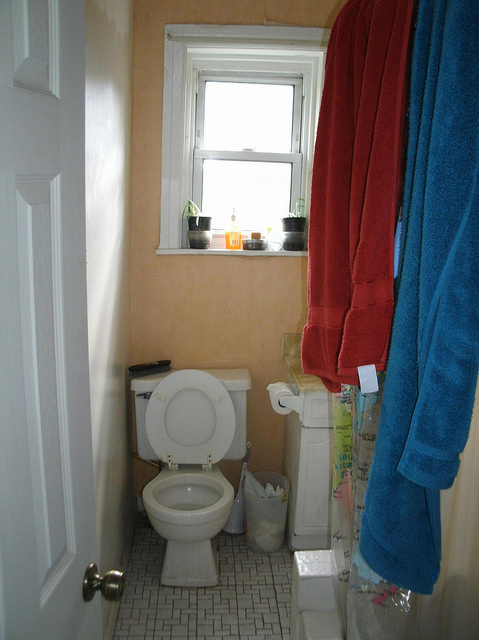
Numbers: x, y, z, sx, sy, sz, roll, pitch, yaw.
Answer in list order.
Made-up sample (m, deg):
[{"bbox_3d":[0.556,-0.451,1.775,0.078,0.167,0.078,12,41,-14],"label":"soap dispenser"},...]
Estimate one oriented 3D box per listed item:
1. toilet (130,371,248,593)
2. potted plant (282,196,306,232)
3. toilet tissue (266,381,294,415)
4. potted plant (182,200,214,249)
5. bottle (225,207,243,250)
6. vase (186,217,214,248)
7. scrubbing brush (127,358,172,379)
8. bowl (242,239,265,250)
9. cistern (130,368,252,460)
[{"bbox_3d":[-0.180,0.561,2.011,0.368,0.926,0.662,0,5,-2],"label":"toilet"},{"bbox_3d":[0.236,-0.460,2.203,0.102,0.164,0.157,2,6,8],"label":"potted plant"},{"bbox_3d":[0.145,0.283,1.904,0.080,0.112,0.142,-4,1,2],"label":"toilet tissue"},{"bbox_3d":[-0.183,-0.399,2.157,0.095,0.230,0.134,-3,0,-5],"label":"potted plant"},{"bbox_3d":[-0.017,-0.379,2.199,0.098,0.152,0.088,-2,6,-28],"label":"bottle"},{"bbox_3d":[-0.163,-0.357,2.110,0.082,0.136,0.102,0,6,9],"label":"vase"},{"bbox_3d":[-0.369,0.201,2.067,0.127,0.051,0.033,-15,-11,-40],"label":"scrubbing brush"},{"bbox_3d":[0.059,-0.319,2.163,0.089,0.042,0.063,1,6,1],"label":"bowl"},{"bbox_3d":[-0.157,0.362,1.973,0.412,0.461,0.306,-1,8,1],"label":"cistern"}]
